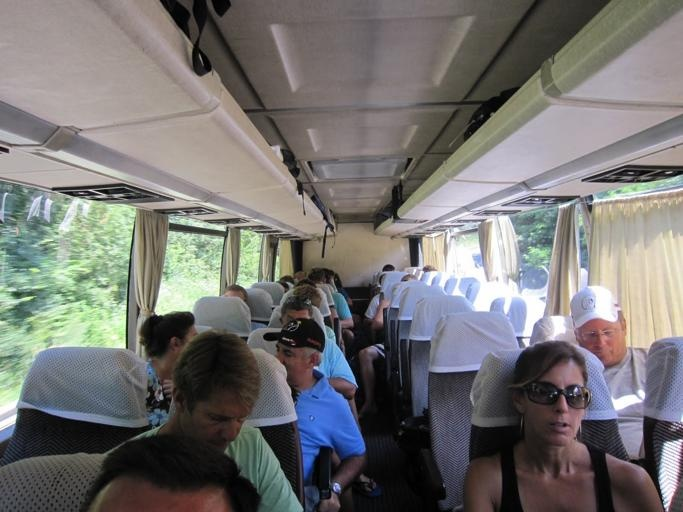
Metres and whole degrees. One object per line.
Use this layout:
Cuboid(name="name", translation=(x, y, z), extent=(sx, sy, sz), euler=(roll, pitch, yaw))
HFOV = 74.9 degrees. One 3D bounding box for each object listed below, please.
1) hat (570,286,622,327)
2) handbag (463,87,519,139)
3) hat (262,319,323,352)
Cuboid(name="hat", translation=(1.896, 0.387, 3.356), extent=(0.250, 0.201, 0.363), euler=(-16, -13, 27))
Cuboid(name="handbag", translation=(0.965, -0.954, 2.939), extent=(0.328, 0.107, 0.254), euler=(-37, -3, 12))
Cuboid(name="hat", translation=(-0.322, 0.509, 2.948), extent=(0.348, 0.175, 0.217), euler=(13, -13, -16))
